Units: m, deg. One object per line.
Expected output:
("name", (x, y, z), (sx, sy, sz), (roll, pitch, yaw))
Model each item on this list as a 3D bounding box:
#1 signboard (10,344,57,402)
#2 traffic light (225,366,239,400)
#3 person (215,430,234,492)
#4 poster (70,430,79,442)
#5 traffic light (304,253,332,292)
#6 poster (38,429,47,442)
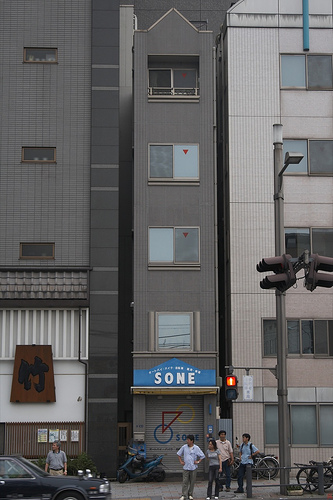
("signboard", (-4.217, 3.908, 37.007), (1.333, 2.056, 0.193), (1, -32, -7))
("traffic light", (1.770, 3.832, 32.765), (0.315, 0.707, 0.462), (-2, -12, 4))
("person", (1.504, 5.780, 32.026), (0.483, 1.752, 0.500), (-2, 9, -7))
("poster", (-2.891, 5.847, 36.712), (0.274, 0.437, 0.040), (1, -16, -5))
("traffic light", (3.946, 0.758, 31.300), (0.719, 1.076, 0.930), (3, -25, 0))
("poster", (-3.889, 5.837, 36.683), (0.314, 0.521, 0.048), (0, -11, 1))
